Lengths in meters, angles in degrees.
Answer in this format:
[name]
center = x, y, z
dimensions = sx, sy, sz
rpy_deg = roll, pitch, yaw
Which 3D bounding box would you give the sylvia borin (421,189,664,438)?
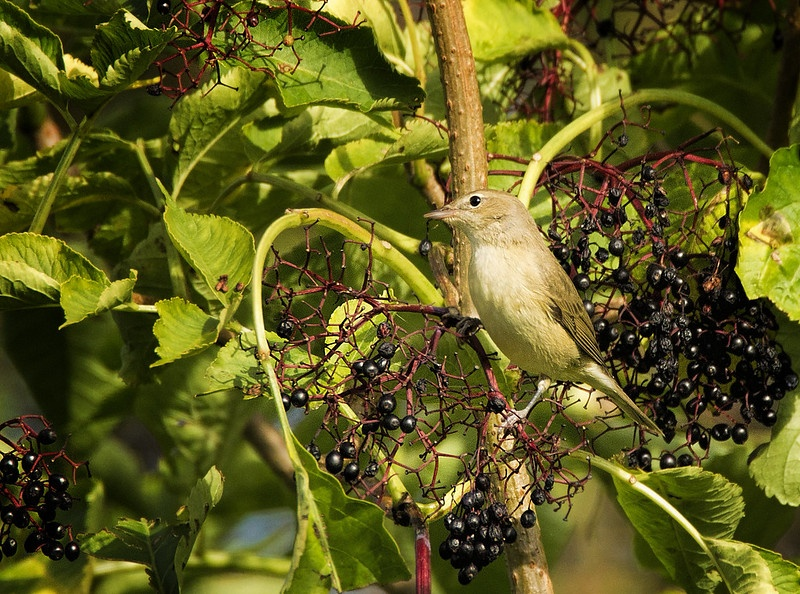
[sylvia borin]
center = 0.568, -0.008, 4.879
dimensions = 0.662, 1.343, 1.252
rpy_deg = 9, 8, 18
